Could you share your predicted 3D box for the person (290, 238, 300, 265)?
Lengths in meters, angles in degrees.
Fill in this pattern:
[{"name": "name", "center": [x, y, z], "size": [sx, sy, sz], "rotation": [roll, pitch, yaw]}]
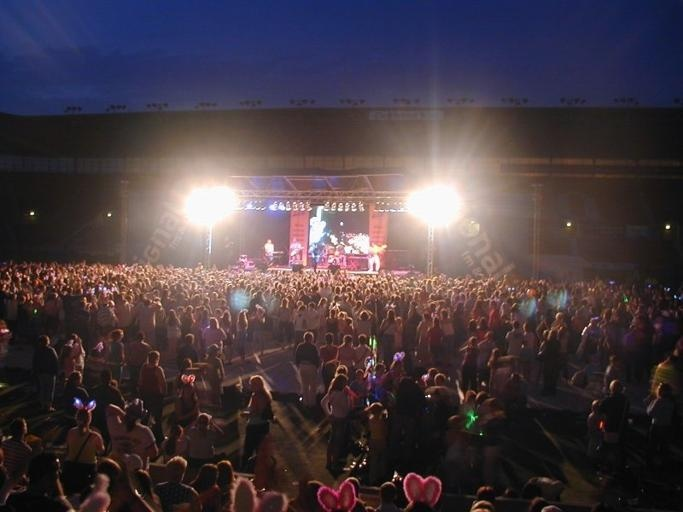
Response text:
[{"name": "person", "center": [-3.081, -0.349, 35.933], "size": [0.782, 1.731, 0.471], "rotation": [4, -2, 27]}]
